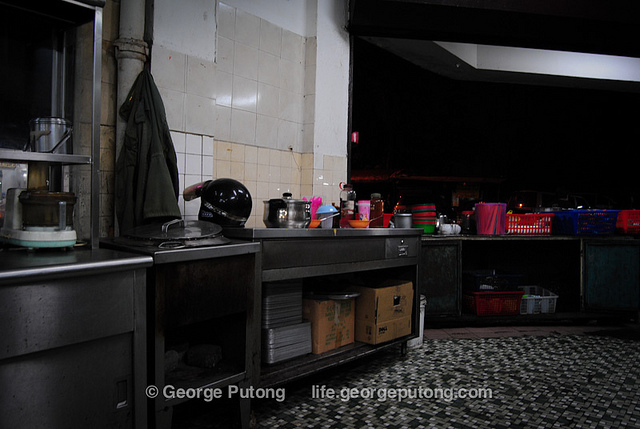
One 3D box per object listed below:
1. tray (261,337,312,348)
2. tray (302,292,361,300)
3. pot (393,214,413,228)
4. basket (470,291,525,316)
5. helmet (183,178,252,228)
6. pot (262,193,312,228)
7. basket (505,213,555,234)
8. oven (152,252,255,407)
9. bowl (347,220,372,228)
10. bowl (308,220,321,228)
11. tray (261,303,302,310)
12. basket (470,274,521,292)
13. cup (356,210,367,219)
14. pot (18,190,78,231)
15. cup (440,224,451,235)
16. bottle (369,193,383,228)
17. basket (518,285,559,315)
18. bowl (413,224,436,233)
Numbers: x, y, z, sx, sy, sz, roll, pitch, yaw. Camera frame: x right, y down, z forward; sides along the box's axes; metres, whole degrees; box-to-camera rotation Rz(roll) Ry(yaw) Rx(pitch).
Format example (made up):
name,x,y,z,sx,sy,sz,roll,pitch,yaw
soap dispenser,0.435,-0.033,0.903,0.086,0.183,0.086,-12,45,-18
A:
name,x,y,z,sx,sy,sz,roll,pitch,yaw
tray,-0.288,1.006,3.883,0.159,0.046,0.167,2,-4,-40
tray,0.097,0.683,4.174,0.265,0.038,0.174,0,-2,-16
pot,0.826,0.063,4.867,0.133,0.104,0.138,1,-4,0
basket,1.986,0.975,5.482,0.290,0.197,0.449,1,-2,7
helmet,-0.860,-0.050,3.930,0.552,0.455,0.457,0,-16,5
pot,-0.261,-0.031,4.092,0.382,0.322,0.512,-2,-8,22
basket,2.442,0.106,5.743,0.406,0.184,0.270,0,0,-1
oven,-0.902,0.635,3.563,0.788,1.007,0.765,-1,14,-17
bowl,0.342,0.073,4.512,0.196,0.070,0.091,3,9,16
bowl,-0.047,0.075,4.402,0.109,0.064,0.063,-2,9,-17
tray,-0.337,0.734,3.913,0.043,0.012,0.305,-12,-8,44
basket,1.962,0.759,5.485,0.321,0.122,0.273,2,-2,4
cup,0.379,0.000,4.522,0.074,0.057,0.075,1,-1,0
pot,-1.716,-0.027,3.113,0.271,0.166,0.256,2,2,0
cup,1.436,0.168,5.595,0.109,0.088,0.102,2,0,0
bottle,0.550,-0.037,4.810,0.152,0.329,0.141,0,8,0
basket,2.546,1.001,5.736,0.399,0.230,0.522,4,10,22
bowl,1.219,0.149,5.609,0.286,0.095,0.139,-2,9,-14
